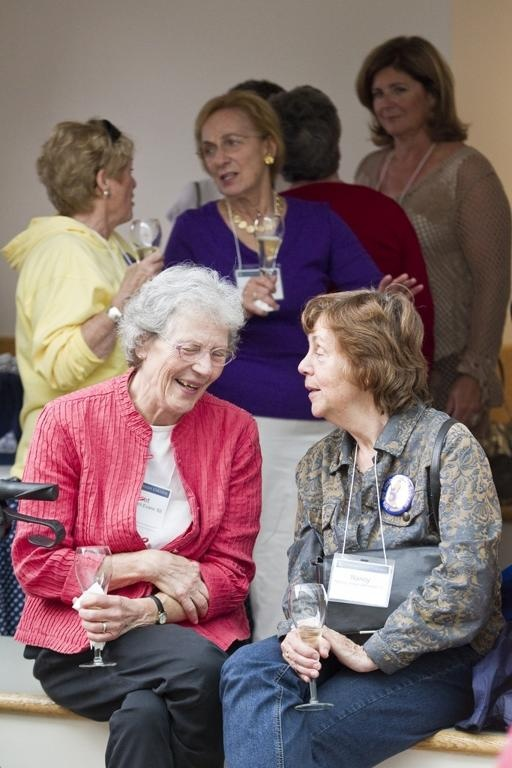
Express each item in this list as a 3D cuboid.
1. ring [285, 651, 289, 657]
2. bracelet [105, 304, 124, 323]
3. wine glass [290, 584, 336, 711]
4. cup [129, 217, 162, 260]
[{"bbox_3d":[0.058,0.519,1.464,0.004,0.010,0.012,5,-7,-42],"label":"ring"},{"bbox_3d":[-0.423,-0.207,2.256,0.050,0.051,0.055,15,-6,-11],"label":"bracelet"},{"bbox_3d":[0.106,0.492,1.463,0.066,0.199,0.148,-4,1,7],"label":"wine glass"},{"bbox_3d":[-0.328,-0.435,2.241,0.113,0.149,0.098,-5,19,-5],"label":"cup"}]
